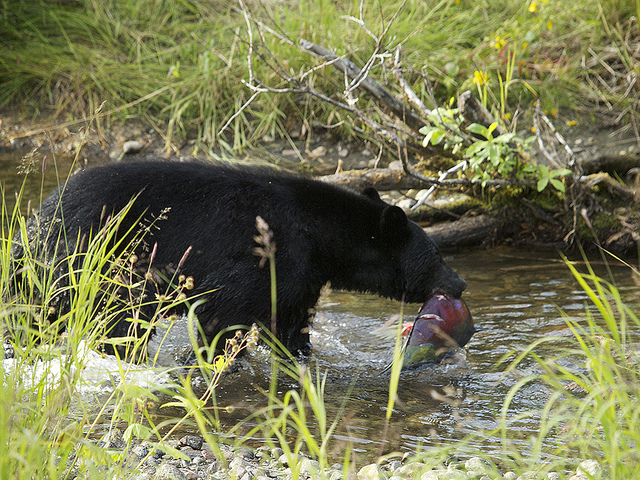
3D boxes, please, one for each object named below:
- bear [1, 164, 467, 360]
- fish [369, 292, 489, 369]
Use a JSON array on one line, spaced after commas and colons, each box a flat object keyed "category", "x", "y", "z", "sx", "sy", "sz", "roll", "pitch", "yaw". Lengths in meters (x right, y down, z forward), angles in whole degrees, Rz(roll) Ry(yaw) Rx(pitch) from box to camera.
[{"category": "bear", "x": -0.605, "y": 0.199, "z": 5.121, "sx": 1.451, "sy": 1.177, "sz": 1.917, "roll": -11, "pitch": 21, "yaw": -35}, {"category": "fish", "x": 0.875, "y": 0.647, "z": 5.458, "sx": 0.737, "sy": 0.505, "sz": 0.473, "roll": -30, "pitch": 80, "yaw": -36}]
